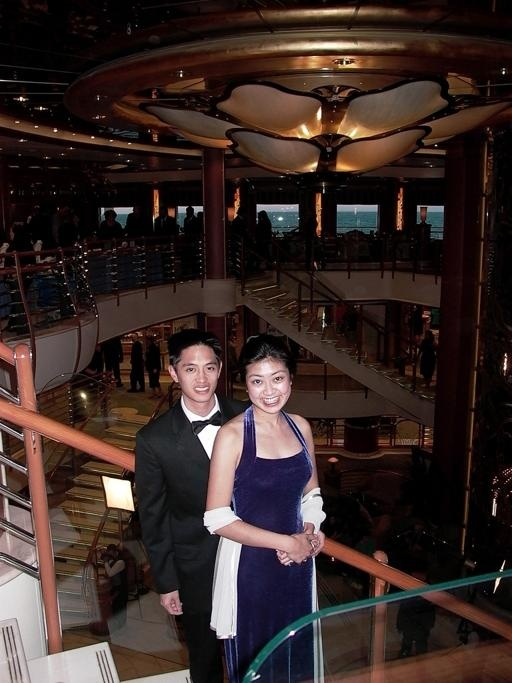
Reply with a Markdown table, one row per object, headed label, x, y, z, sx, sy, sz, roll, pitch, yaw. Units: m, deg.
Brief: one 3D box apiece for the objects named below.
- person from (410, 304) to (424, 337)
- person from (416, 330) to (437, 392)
| label | x | y | z | sx | sy | sz | roll | pitch | yaw |
| --- | --- | --- | --- | --- | --- | --- | --- | --- | --- |
| person | 4.072 | -0.515 | 13.966 | 0.310 | 0.759 | 1.188 | 1 | 7 | 15 |
| person | 3.135 | 0.317 | 10.070 | 0.263 | 0.938 | 0.846 | 2 | 7 | 16 |
